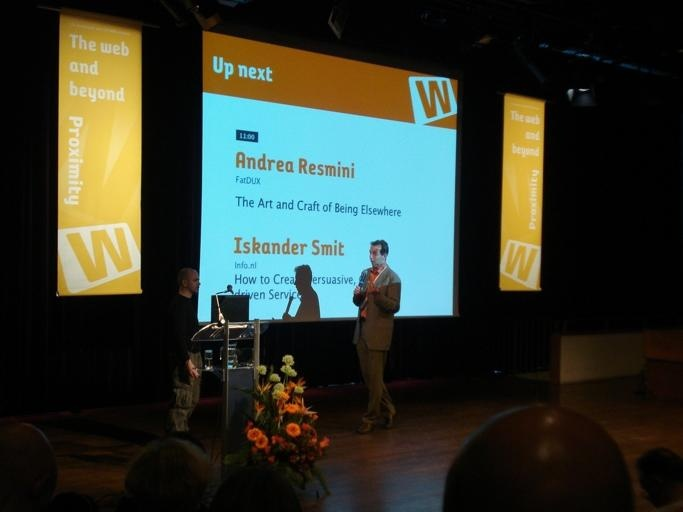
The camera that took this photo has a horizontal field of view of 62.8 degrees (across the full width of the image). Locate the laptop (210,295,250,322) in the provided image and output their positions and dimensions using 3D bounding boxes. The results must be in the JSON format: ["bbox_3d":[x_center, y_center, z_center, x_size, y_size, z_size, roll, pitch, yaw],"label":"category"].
[{"bbox_3d":[-0.802,0.376,4.007,0.223,0.251,0.190,2,-5,-12],"label":"laptop"}]

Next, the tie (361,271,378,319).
[{"bbox_3d":[0.268,0.369,5.593,0.137,0.541,0.141,8,0,-38],"label":"tie"}]

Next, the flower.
[{"bbox_3d":[-0.511,1.262,4.368,0.827,1.039,0.959,2,-2,-19],"label":"flower"}]

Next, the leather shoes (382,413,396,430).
[{"bbox_3d":[0.491,1.719,5.791,0.082,0.186,0.175,3,-6,6],"label":"leather shoes"}]

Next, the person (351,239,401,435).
[{"bbox_3d":[0.353,0.791,5.612,0.460,1.922,0.561,0,-3,2],"label":"person"}]

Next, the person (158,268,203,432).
[{"bbox_3d":[-1.360,0.817,4.831,0.261,1.414,0.347,1,-3,-18],"label":"person"}]
